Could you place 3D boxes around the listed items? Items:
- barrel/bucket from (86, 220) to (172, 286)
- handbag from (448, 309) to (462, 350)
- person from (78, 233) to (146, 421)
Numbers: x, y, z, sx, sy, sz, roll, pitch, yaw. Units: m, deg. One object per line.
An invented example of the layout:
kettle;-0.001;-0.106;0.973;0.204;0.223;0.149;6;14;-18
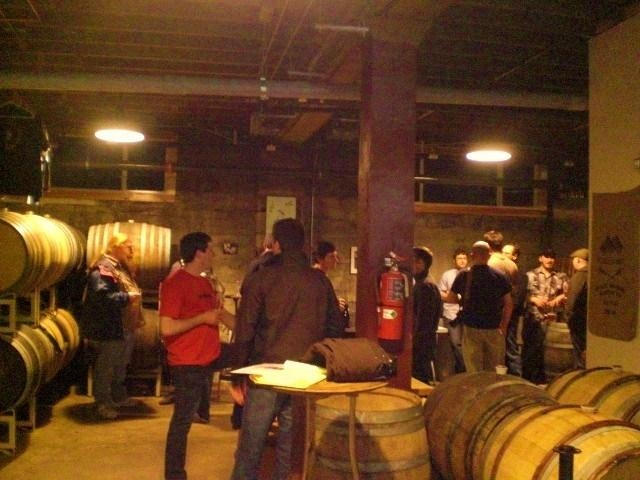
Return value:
barrel/bucket;-2.476;0.075;7.919;0.982;0.879;0.842;3;7;-9
handbag;1.697;1.100;7.571;0.165;0.464;0.331;-8;-29;8
person;-2.412;0.983;7.017;0.646;2.068;0.524;-2;5;-29
